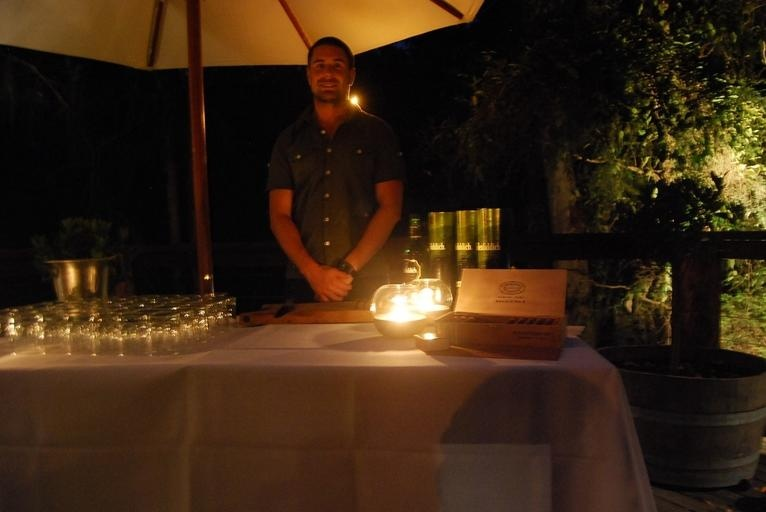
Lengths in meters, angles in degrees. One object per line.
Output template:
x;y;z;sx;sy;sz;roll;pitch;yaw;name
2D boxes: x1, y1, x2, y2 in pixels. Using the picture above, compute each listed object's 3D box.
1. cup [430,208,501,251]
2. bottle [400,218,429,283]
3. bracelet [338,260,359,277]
0.441;-0.136;3.505;0.390;0.232;0.100;0;3;10;cup
0.192;0.001;3.688;0.183;0.475;0.184;-2;15;1;bottle
-0.195;0.077;3.750;0.097;0.088;0.097;-19;-6;11;bracelet
